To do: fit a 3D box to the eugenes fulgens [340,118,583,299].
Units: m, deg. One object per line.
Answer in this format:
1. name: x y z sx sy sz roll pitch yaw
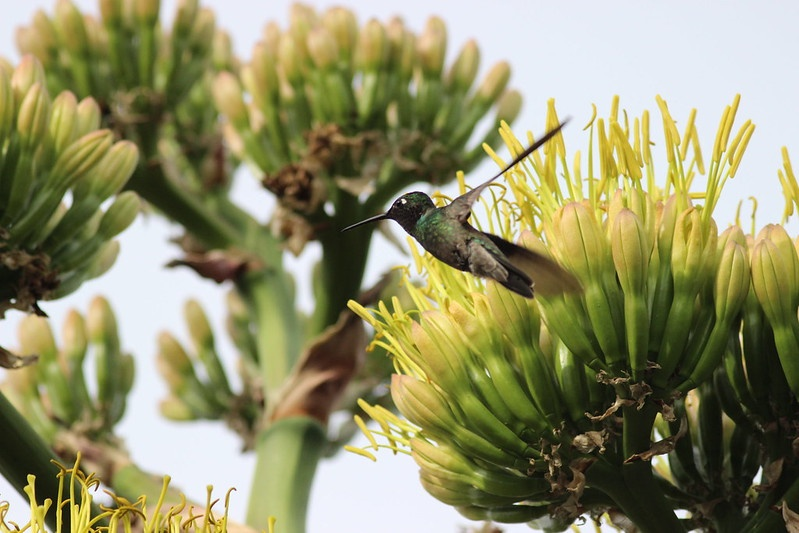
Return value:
1. eugenes fulgens: 0.201 -0.167 4.260 0.634 0.366 0.572 2 -1 16
